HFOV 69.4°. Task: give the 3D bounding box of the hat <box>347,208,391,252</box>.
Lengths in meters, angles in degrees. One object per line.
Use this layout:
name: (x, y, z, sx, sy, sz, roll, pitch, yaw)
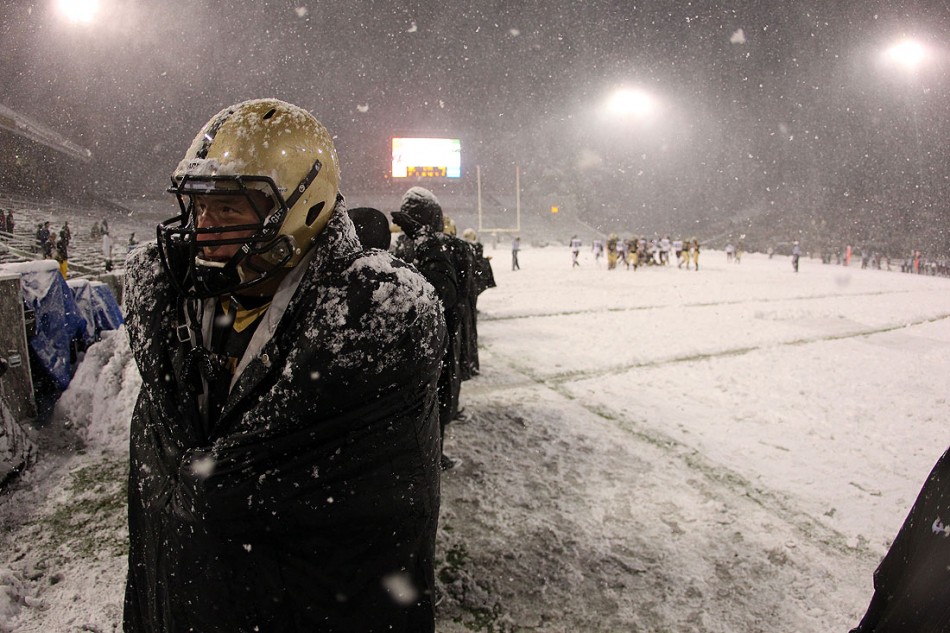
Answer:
hat: (-0.879, -0.757, 5.799, 0.401, 0.447, 0.494, -1, -5, -9)
